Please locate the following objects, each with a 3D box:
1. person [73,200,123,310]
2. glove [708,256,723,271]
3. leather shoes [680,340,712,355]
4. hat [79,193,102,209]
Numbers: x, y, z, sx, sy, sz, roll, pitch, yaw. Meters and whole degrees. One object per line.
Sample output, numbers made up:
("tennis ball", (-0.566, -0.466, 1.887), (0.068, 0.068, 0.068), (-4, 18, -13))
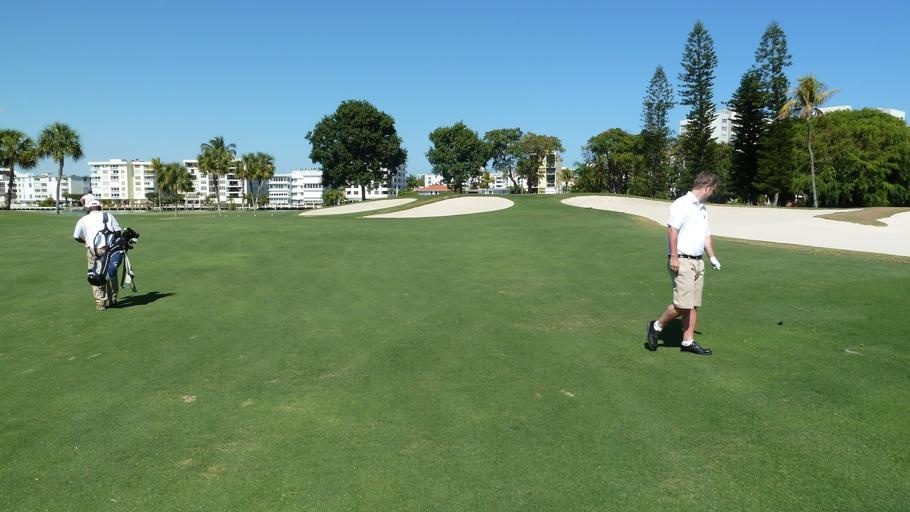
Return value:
("person", (-7.811, -0.123, 13.104), (0.799, 2.398, 1.306), (-9, 15, -31))
("glove", (6.053, 0.200, 13.848), (0.256, 0.345, 0.174), (-8, -19, -14))
("leather shoes", (4.231, 1.633, 10.554), (0.559, 0.194, 0.201), (1, 6, 8))
("hat", (-8.000, -1.212, 13.177), (0.493, 0.395, 0.366), (6, 19, 38))
